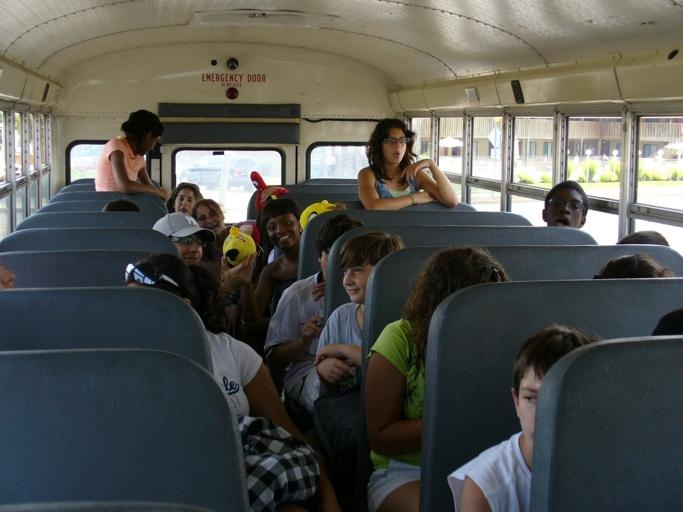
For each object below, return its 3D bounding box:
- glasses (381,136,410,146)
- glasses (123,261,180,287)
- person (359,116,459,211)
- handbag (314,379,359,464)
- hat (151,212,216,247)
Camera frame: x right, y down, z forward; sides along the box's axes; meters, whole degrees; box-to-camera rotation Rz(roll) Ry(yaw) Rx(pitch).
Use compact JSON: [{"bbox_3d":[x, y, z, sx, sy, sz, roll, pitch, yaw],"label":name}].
[{"bbox_3d":[0.514,-1.018,5.010,0.322,0.067,0.116,-5,9,-45],"label":"glasses"},{"bbox_3d":[-0.748,0.081,2.203,0.127,0.041,0.113,17,0,-24],"label":"glasses"},{"bbox_3d":[0.573,-0.545,5.027,0.744,1.428,0.675,0,-6,1],"label":"person"},{"bbox_3d":[-0.009,0.760,2.632,0.213,0.339,0.096,2,3,1],"label":"handbag"},{"bbox_3d":[-1.040,-0.188,3.728,0.319,0.179,0.219,3,3,13],"label":"hat"}]
